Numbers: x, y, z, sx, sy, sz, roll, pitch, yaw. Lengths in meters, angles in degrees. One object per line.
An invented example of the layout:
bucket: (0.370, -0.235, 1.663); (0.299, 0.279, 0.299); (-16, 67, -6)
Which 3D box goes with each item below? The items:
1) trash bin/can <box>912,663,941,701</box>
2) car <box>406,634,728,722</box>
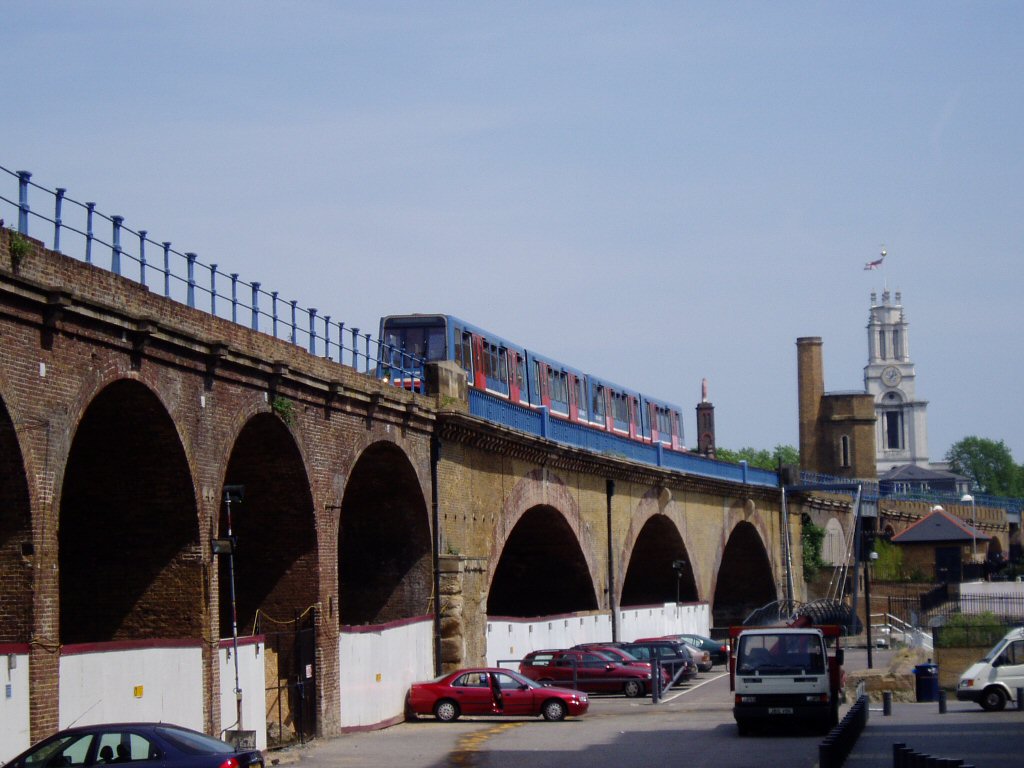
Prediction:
trash bin/can: (12.565, 8.946, 61.745); (0.648, 1.111, 0.666); (-2, -11, -3)
car: (-0.010, 8.464, 56.371); (3.127, 1.145, 3.428); (-7, -8, 14)
